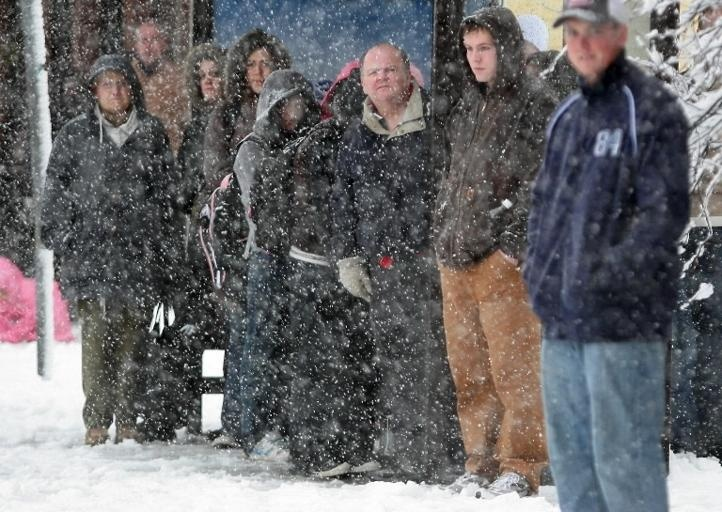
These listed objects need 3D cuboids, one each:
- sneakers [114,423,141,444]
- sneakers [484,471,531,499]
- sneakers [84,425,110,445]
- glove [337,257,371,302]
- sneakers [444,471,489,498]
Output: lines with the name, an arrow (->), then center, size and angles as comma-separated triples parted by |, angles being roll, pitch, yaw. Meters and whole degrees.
sneakers -> -1.727, 1.279, 12.156 | 0.141, 0.148, 0.126 | -5, -7, 24
sneakers -> 0.952, 1.458, 10.820 | 0.236, 0.129, 0.152 | 4, -3, -5
sneakers -> -1.924, 1.290, 12.056 | 0.183, 0.132, 0.113 | 3, -8, -24
glove -> -0.052, 0.160, 11.528 | 0.265, 0.269, 0.054 | 37, 22, 23
sneakers -> 0.707, 1.479, 10.977 | 0.184, 0.086, 0.145 | -17, 4, -30
